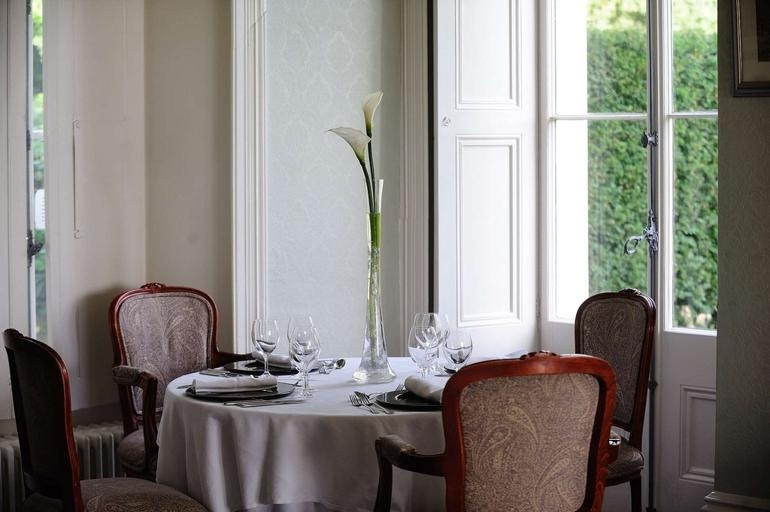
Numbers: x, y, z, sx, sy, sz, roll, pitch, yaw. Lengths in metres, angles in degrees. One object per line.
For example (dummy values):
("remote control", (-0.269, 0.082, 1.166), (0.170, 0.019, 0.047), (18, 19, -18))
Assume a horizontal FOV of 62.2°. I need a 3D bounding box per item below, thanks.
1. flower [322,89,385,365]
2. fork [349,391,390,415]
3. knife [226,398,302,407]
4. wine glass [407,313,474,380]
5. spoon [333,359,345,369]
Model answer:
("flower", (-0.132, -0.057, 3.178), (0.404, 1.527, 0.277), (-1, 27, -6))
("fork", (-0.078, 0.630, 2.725), (0.062, 0.034, 0.213), (-13, 9, -22))
("knife", (-0.518, 0.628, 2.730), (0.331, 0.009, 0.103), (1, 4, -18))
("wine glass", (0.300, 0.439, 3.089), (0.321, 0.270, 0.255), (8, -8, -34))
("spoon", (-0.236, 0.561, 3.319), (0.030, 0.043, 0.040), (-4, 6, -3))
